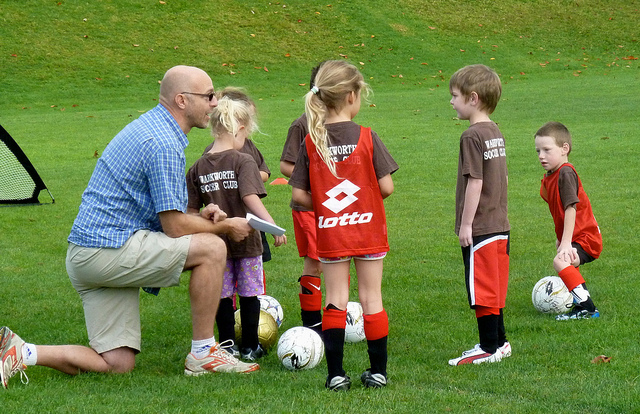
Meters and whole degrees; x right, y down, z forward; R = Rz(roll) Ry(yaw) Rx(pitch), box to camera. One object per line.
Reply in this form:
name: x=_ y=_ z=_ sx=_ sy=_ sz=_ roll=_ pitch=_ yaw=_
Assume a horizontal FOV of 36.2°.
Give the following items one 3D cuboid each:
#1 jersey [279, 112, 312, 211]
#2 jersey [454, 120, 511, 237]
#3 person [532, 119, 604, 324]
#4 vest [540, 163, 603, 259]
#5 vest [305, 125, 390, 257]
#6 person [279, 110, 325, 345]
jersey: x=-0.424 y=-0.776 z=16.854 sx=0.546 sy=1.567 sz=0.728 roll=3 pitch=1 yaw=6
jersey: x=2.791 y=-0.509 z=16.435 sx=0.881 sy=1.739 sz=1.417 roll=4 pitch=10 yaw=35
person: x=4.358 y=0.303 z=17.406 sx=1.598 sy=3.452 sz=1.156 roll=1 pitch=-2 yaw=1
vest: x=4.455 y=0.076 z=17.310 sx=1.196 sy=1.843 sz=0.795 roll=0 pitch=0 yaw=12
vest: x=0.446 y=-0.202 z=15.555 sx=1.143 sy=1.958 sz=0.540 roll=-2 pitch=13 yaw=2
person: x=-0.074 y=0.390 z=17.262 sx=1.124 sy=3.829 sz=1.410 roll=1 pitch=1 yaw=-21
